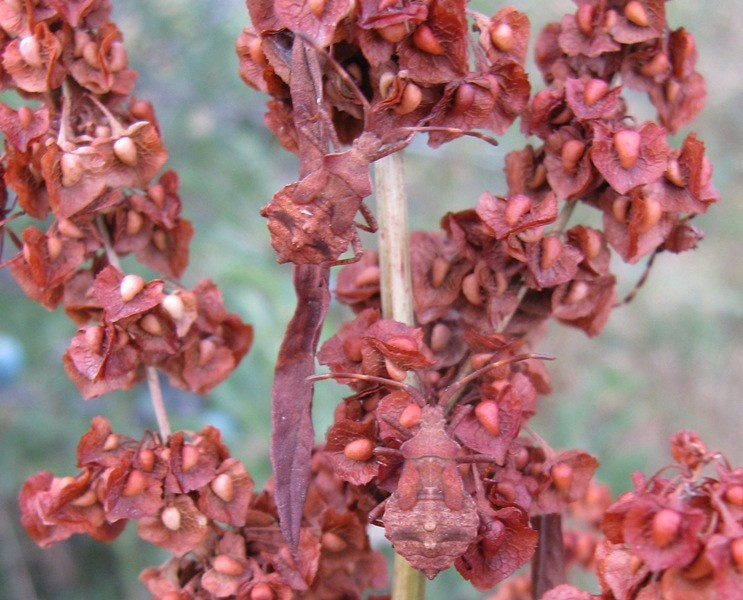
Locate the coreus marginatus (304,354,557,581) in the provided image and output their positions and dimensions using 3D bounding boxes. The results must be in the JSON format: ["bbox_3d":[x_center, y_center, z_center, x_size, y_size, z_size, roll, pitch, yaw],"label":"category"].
[{"bbox_3d":[0.160,0.282,2.212,0.394,0.251,0.413,-20,59,-16],"label":"coreus marginatus"}]

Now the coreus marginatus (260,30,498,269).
[{"bbox_3d":[0.004,-0.229,2.307,0.450,0.161,0.451,33,74,13],"label":"coreus marginatus"}]
